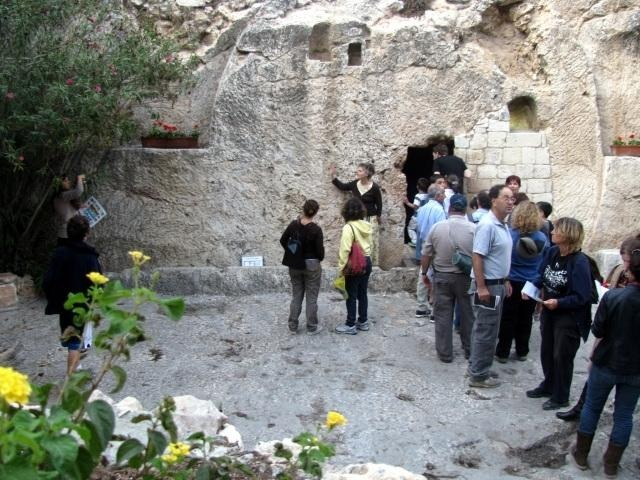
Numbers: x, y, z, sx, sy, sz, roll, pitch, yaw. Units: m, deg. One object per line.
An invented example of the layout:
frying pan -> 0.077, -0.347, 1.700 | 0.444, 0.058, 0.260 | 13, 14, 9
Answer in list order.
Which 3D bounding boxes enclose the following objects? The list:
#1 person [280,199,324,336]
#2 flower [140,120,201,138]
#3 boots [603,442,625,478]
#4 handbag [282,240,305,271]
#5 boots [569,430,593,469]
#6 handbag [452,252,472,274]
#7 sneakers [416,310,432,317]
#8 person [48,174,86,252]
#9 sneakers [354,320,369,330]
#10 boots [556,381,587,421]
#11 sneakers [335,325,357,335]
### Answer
person -> -0.225, 0.319, 6.960 | 0.501, 1.602, 0.415 | 1, 15, 2
flower -> -2.211, -1.611, 8.664 | 0.674, 0.219, 0.471 | 7, 14, -5
boots -> 2.327, 1.747, 4.646 | 0.123, 0.260, 0.119 | 9, 17, 28
handbag -> -0.301, 0.163, 6.776 | 0.158, 0.276, 0.276 | -19, 28, -40
boots -> 2.161, 1.697, 4.795 | 0.150, 0.299, 0.184 | 4, 16, 14
handbag -> 1.473, 0.230, 6.061 | 0.236, 0.090, 0.172 | 31, 4, -36
sneakers -> 1.358, 0.971, 7.715 | 0.222, 0.097, 0.079 | -1, 14, -13
person -> -3.171, -0.398, 7.293 | 0.356, 1.059, 0.437 | 2, 53, -37
sneakers -> 0.522, 1.054, 7.236 | 0.194, 0.087, 0.073 | 5, 15, 11
boots -> 2.270, 1.445, 5.270 | 0.209, 0.313, 0.261 | 11, 18, 34
sneakers -> 0.314, 1.078, 7.137 | 0.214, 0.104, 0.112 | 7, 7, 4
